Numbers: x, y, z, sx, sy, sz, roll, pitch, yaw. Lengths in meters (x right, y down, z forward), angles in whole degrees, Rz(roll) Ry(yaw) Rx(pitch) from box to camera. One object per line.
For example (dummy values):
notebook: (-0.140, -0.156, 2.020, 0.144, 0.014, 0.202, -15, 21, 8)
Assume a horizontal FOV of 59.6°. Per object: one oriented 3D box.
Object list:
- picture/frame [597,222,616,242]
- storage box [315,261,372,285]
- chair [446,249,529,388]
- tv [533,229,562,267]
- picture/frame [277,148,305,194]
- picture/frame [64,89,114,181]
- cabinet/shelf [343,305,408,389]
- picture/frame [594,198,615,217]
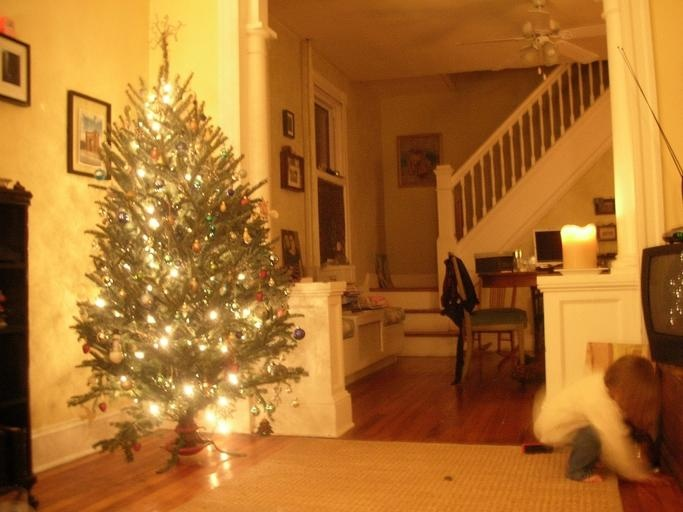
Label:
picture/frame: (3.167, -0.299, 7.122, 0.283, 0.257, 0.028, -2, 3, 9)
storage box: (-0.038, 0.193, 6.435, 0.617, 0.360, 0.359, -1, -1, 3)
chair: (1.382, 0.566, 5.773, 0.749, 1.197, 1.129, -5, -3, 15)
tv: (2.356, -0.082, 6.796, 0.419, 0.428, 0.041, -1, -11, 0)
picture/frame: (-0.519, -0.843, 5.991, 0.075, 0.364, 0.508, -1, -2, 16)
picture/frame: (-1.703, -0.805, 4.046, 0.080, 0.551, 0.370, -5, -3, 18)
cabinet/shelf: (0.322, 0.893, 6.170, 0.410, 0.677, 1.673, -4, -4, 14)
picture/frame: (3.132, -0.587, 7.100, 0.212, 0.186, 0.064, 0, 2, 17)
